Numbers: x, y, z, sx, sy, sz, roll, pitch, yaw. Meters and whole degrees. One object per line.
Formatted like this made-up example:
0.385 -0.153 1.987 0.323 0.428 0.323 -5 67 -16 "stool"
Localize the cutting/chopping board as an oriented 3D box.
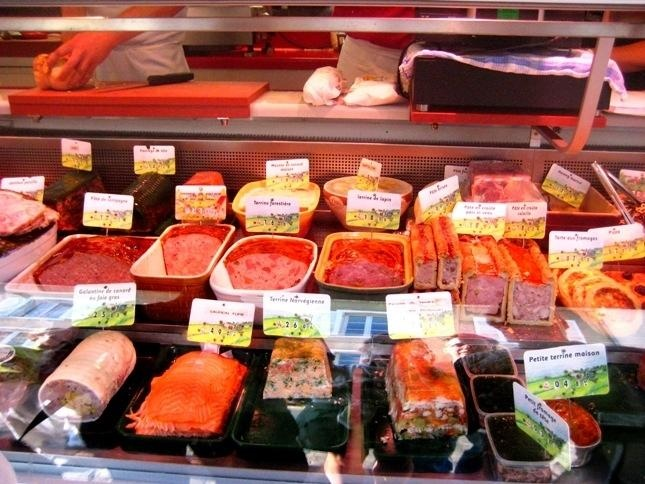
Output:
-0.949 -0.727 2.412 1.253 0.227 0.388 0 42 1 "cutting/chopping board"
